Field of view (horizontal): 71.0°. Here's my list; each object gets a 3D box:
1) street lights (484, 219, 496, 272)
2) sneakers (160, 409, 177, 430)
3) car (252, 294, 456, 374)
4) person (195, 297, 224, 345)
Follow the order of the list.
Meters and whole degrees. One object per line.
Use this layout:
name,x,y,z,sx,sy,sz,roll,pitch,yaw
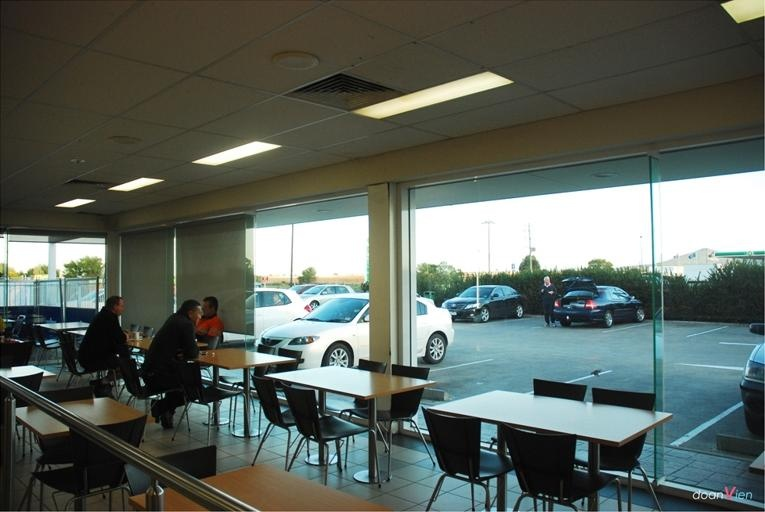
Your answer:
street lights,1.268,-0.132,6.425,0.145,0.624,0.076,0,3,29
sneakers,-2.925,2.220,7.292,0.119,0.340,0.146,-5,12,-6
car,-0.369,1.139,8.071,2.760,0.957,1.222,2,-7,-17
person,-2.932,1.050,9.069,0.448,0.685,0.804,-2,6,-40
